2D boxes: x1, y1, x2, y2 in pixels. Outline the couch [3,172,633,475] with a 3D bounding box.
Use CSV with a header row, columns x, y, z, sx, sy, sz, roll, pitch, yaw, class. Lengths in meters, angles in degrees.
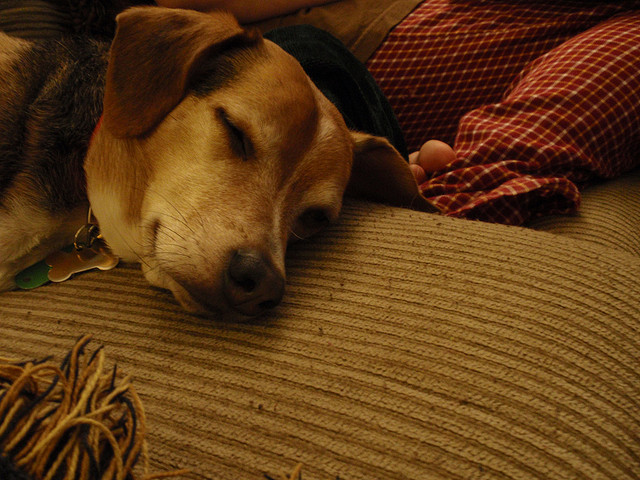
x,y,z,sx,sy,sz,roll,pitch,yaw,class
0.067,0.293,1.849,1.822,0.228,0.797,-1,59,2,couch
